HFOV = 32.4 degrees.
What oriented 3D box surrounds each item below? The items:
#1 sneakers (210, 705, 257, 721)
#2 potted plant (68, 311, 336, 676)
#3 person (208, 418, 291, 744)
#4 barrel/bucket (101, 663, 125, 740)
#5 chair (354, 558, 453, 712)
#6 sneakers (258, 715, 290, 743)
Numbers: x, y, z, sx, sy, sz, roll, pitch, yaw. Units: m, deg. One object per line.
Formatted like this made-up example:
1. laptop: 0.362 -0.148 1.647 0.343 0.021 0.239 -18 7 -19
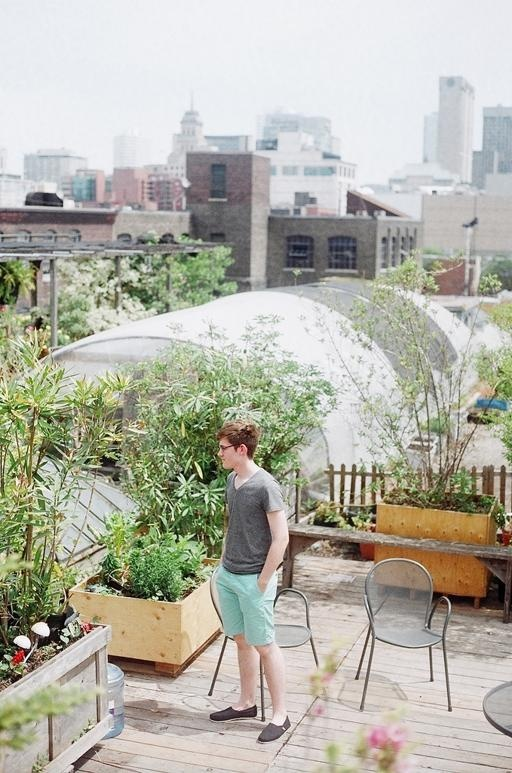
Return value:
1. sneakers: -0.106 1.615 4.414 0.252 0.093 0.086 2 -9 -2
2. potted plant: -0.341 0.728 5.673 1.232 1.677 1.887 6 13 18
3. person: -0.029 0.918 4.156 0.374 1.520 0.561 0 3 -3
4. barrel/bucket: -0.748 1.567 4.380 0.182 0.320 0.181 -1 -10 0
5. chair: 0.782 1.285 4.799 0.599 0.989 0.663 1 -15 1
6. sneakers: 0.079 1.601 4.151 0.068 0.054 0.184 -10 2 26
